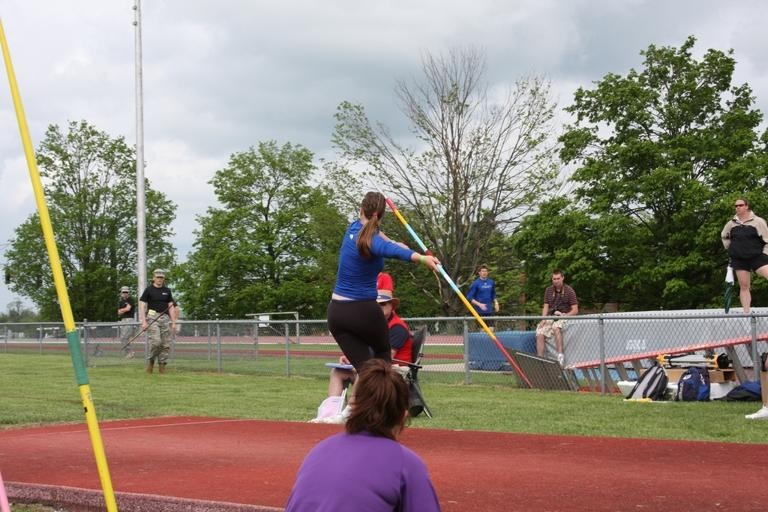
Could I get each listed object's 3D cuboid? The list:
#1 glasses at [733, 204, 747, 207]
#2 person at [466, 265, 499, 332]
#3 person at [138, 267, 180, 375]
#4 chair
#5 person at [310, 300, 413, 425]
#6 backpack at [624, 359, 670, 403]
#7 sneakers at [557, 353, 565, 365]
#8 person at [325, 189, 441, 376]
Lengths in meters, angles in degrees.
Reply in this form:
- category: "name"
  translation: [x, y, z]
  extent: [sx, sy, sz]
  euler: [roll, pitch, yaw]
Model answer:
- category: "glasses"
  translation: [7.265, -1.026, 19.247]
  extent: [0.106, 0.028, 0.098]
  euler: [25, -24, -30]
- category: "person"
  translation: [2.517, 1.394, 24.032]
  extent: [0.913, 2.143, 0.796]
  euler: [-6, 14, -18]
- category: "person"
  translation: [-5.462, 1.604, 22.659]
  extent: [0.868, 2.488, 1.166]
  euler: [0, -7, -14]
- category: "chair"
  translation: [0.094, 1.901, 15.282]
  extent: [1.568, 1.379, 1.160]
  euler: [2, -5, -14]
- category: "person"
  translation: [-0.355, 1.556, 13.288]
  extent: [1.040, 1.443, 2.297]
  euler: [17, 28, 16]
- category: "backpack"
  translation: [4.858, 2.373, 17.483]
  extent: [0.284, 0.801, 0.599]
  euler: [35, -21, -32]
- category: "sneakers"
  translation: [3.857, 2.317, 20.709]
  extent: [0.166, 0.252, 0.218]
  euler: [-2, -6, 10]
- category: "person"
  translation: [-0.158, 0.322, 12.744]
  extent: [1.455, 2.451, 0.527]
  euler: [-6, -8, 38]
